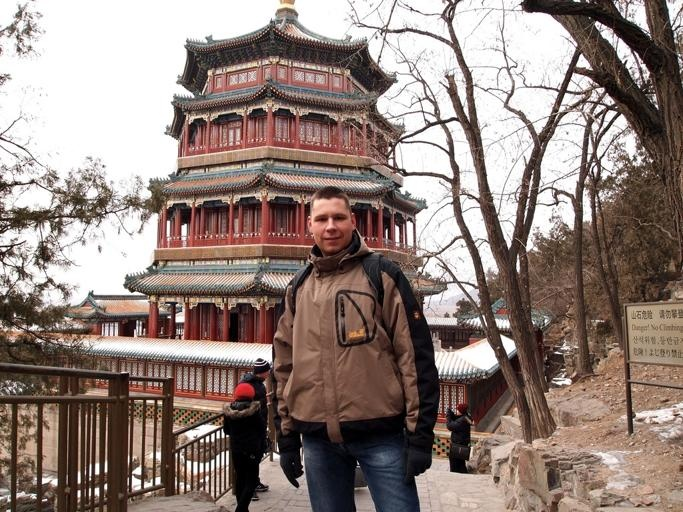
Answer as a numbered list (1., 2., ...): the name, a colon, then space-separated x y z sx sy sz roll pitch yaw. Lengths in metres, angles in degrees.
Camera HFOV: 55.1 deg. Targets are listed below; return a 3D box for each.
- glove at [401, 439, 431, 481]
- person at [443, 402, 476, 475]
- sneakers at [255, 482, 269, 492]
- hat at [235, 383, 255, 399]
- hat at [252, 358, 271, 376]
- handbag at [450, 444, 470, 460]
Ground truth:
1. glove: 0.745 2.041 6.542 0.242 0.367 0.128 3 -7 -2
2. person: 2.256 3.664 12.815 0.474 1.555 0.473 6 11 28
3. sneakers: -1.209 3.558 10.049 0.101 0.142 0.315 -2 -13 15
4. hat: -1.395 1.996 9.496 0.174 0.202 0.255 -1 -29 -9
5. hat: -1.245 1.692 9.957 0.227 0.182 0.226 0 2 23
6. handbag: 2.259 3.736 12.423 0.262 0.202 0.099 -4 -13 28
